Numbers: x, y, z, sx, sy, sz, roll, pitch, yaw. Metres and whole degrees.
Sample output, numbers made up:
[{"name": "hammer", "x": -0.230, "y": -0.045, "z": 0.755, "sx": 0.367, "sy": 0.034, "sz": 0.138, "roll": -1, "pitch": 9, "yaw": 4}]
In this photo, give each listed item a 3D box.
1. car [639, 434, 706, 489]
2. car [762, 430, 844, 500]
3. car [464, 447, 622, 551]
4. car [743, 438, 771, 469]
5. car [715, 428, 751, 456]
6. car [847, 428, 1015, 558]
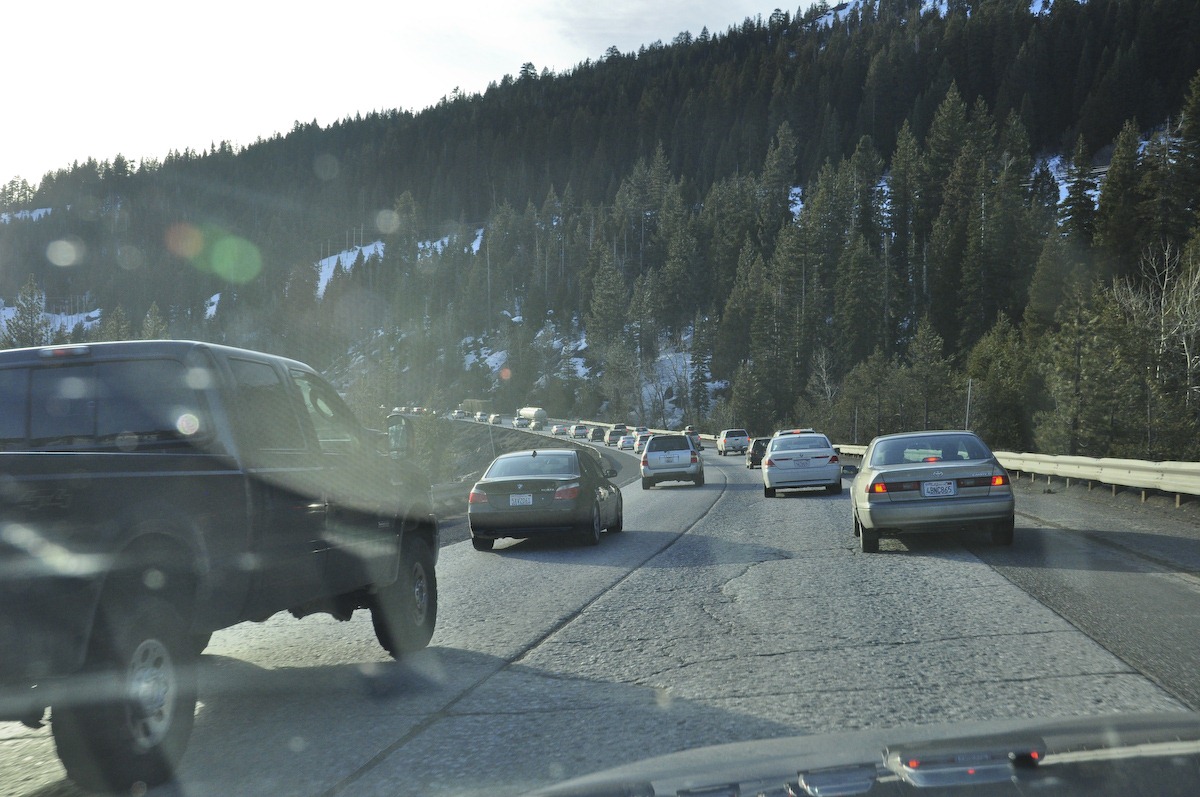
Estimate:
[{"name": "car", "x": 2.222, "y": 1.681, "z": 35.258, "sx": 0.999, "sy": 1.021, "sz": 2.205, "roll": -1, "pitch": 5, "yaw": 9}, {"name": "car", "x": 4.773, "y": 1.631, "z": 28.555, "sx": 1.310, "sy": 1.110, "sz": 3.024, "roll": -1, "pitch": 2, "yaw": 10}, {"name": "car", "x": -0.678, "y": 1.525, "z": 20.340, "sx": 1.154, "sy": 1.027, "sz": 2.890, "roll": -3, "pitch": -1, "yaw": 13}, {"name": "car", "x": 6.433, "y": 2.239, "z": 48.902, "sx": 0.958, "sy": 0.958, "sz": 1.823, "roll": 1, "pitch": 7, "yaw": 4}, {"name": "car", "x": 7.830, "y": 2.604, "z": 71.584, "sx": 1.064, "sy": 0.955, "sz": 1.880, "roll": -1, "pitch": 8, "yaw": -5}, {"name": "car", "x": 4.777, "y": 1.305, "z": 17.141, "sx": 1.344, "sy": 1.045, "sz": 2.452, "roll": -3, "pitch": 5, "yaw": 6}]
